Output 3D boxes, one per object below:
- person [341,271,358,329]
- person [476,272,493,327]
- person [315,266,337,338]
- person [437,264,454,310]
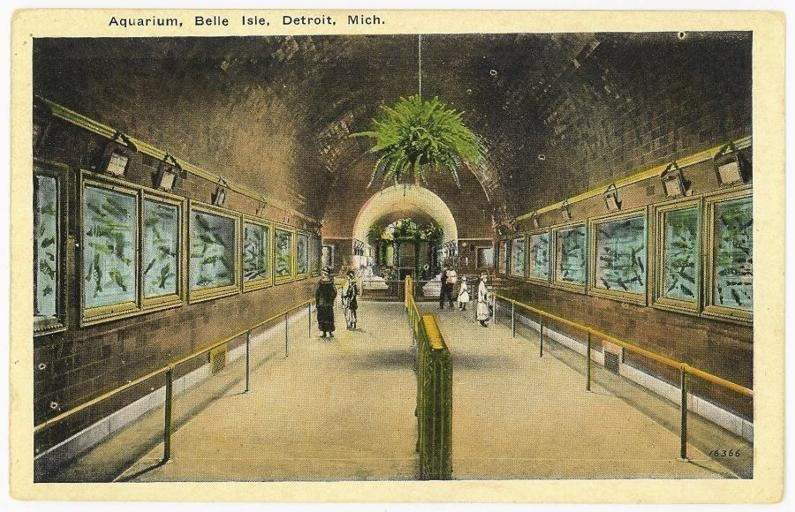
[{"bbox_3d":[-1.230,1.133,15.746,0.410,1.462,1.497,-1,0,-6],"label":"person"},{"bbox_3d":[2.302,1.133,15.965,0.358,1.328,1.537,-1,1,8],"label":"person"},{"bbox_3d":[-1.682,1.095,14.205,0.452,1.678,0.658,-1,0,-8],"label":"person"},{"bbox_3d":[1.602,1.037,19.312,0.504,1.288,1.600,-1,1,4],"label":"person"}]
